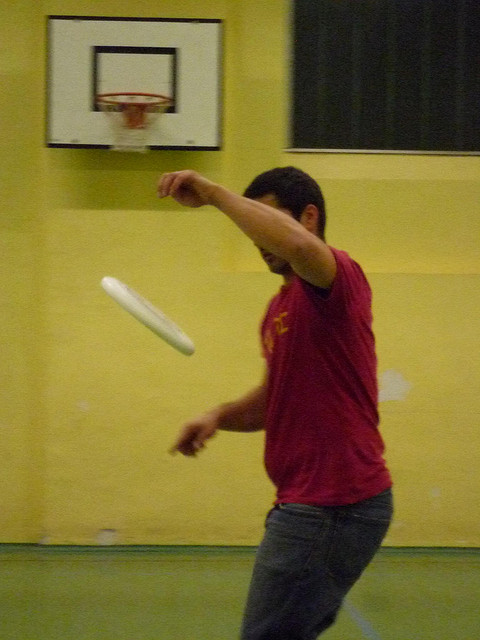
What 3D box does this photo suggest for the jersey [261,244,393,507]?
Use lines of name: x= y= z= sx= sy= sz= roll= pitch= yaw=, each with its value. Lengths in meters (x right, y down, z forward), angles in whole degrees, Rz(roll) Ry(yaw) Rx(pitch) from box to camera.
jersey: x=0.291 y=0.185 z=2.939 sx=0.464 sy=0.850 sz=0.259 roll=3 pitch=7 yaw=14

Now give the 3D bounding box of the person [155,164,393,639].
person: x=0.178 y=0.299 z=2.998 sx=0.576 sy=1.527 sz=0.482 roll=-2 pitch=8 yaw=-22

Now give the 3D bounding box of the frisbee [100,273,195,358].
frisbee: x=-0.528 y=-0.015 z=5.145 sx=0.652 sy=0.126 sz=0.407 roll=34 pitch=5 yaw=-23
